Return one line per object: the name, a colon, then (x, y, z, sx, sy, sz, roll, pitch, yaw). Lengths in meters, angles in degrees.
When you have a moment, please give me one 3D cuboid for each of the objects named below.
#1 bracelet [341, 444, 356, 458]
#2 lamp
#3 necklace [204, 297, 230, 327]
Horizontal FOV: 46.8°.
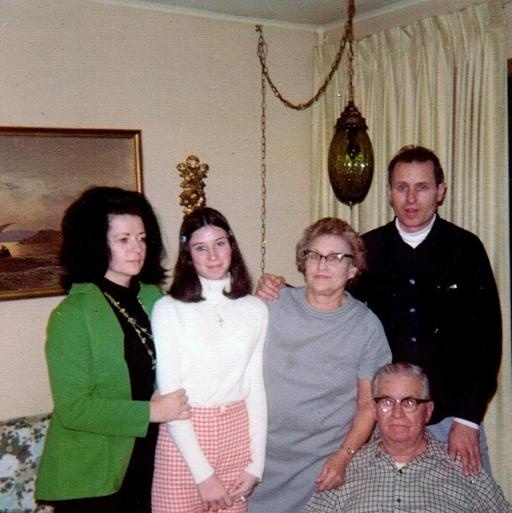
bracelet: (0.380, 0.783, 2.380, 0.044, 0.046, 0.019, 27, 64, 37)
lamp: (0.398, -0.430, 2.457, 0.185, 0.428, 0.216, -1, 7, 8)
necklace: (-0.141, 0.205, 2.175, 0.110, 0.091, 0.028, 4, -31, -44)
